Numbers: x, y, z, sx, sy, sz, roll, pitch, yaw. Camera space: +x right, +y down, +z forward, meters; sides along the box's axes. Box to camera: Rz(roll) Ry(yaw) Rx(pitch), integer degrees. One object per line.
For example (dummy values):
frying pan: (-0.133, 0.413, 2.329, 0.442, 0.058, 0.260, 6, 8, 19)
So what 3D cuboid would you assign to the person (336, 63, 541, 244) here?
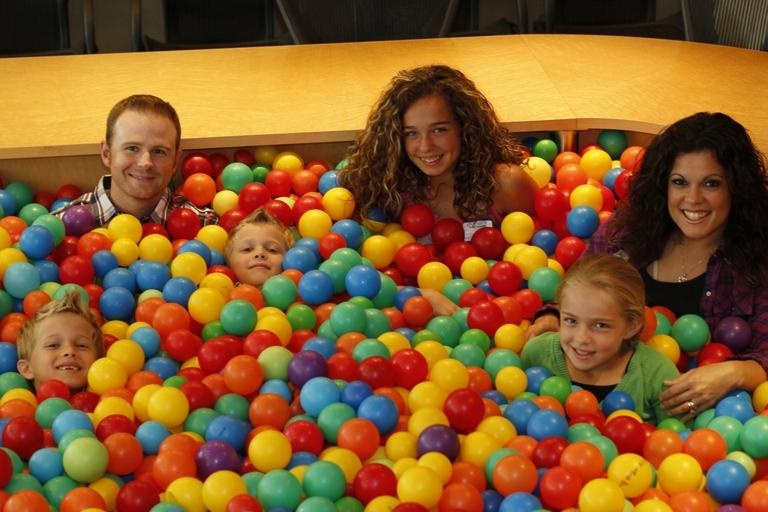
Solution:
person: (0.294, -0.459, 3.487, 1.114, 0.636, 0.977, 2, -9, -30)
